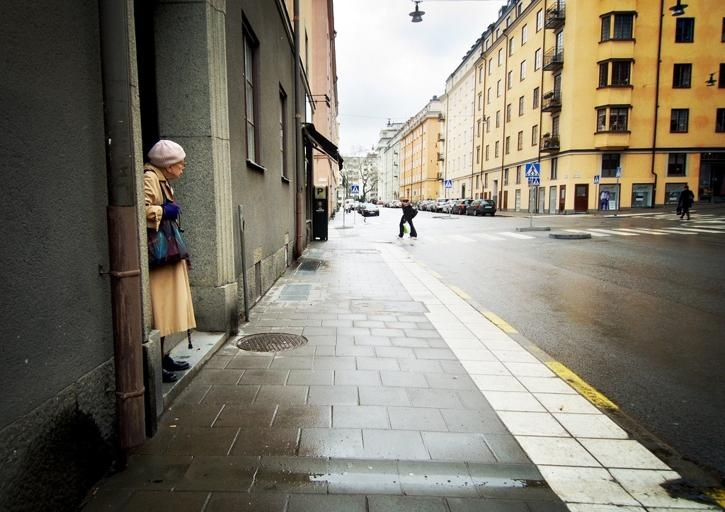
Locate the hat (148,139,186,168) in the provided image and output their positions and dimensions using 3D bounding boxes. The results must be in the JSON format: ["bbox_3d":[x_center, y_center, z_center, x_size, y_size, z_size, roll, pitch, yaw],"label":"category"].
[{"bbox_3d":[-1.720,-0.904,5.109,0.281,0.208,0.227,-5,31,0],"label":"hat"}]

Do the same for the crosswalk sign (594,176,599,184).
[{"bbox_3d":[14.823,-4.822,36.200,0.541,0.559,0.045,-3,6,-22],"label":"crosswalk sign"}]

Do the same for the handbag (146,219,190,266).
[{"bbox_3d":[-1.716,-0.112,5.033,0.400,0.397,0.140,-8,14,-40],"label":"handbag"}]
